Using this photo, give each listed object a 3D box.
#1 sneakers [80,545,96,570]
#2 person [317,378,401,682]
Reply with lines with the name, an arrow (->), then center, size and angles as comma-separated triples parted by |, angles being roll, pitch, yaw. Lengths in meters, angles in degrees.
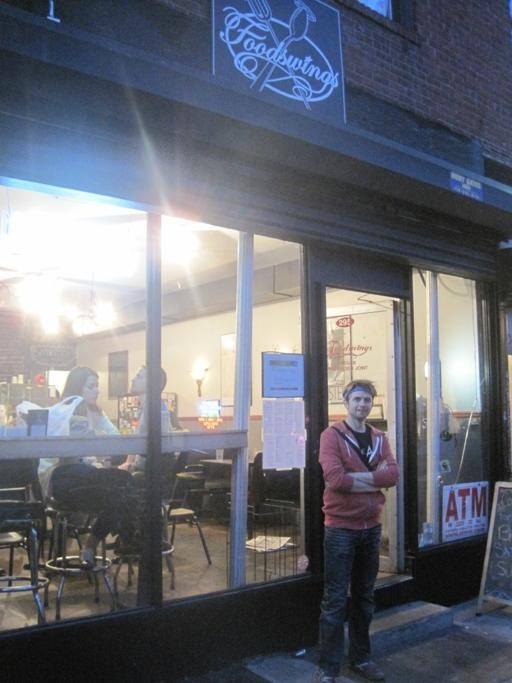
sneakers -> -0.842, 1.087, 3.186 | 0.046, 0.136, 0.062 | 2, -3, -24
person -> 0.567, 1.040, 3.485 | 0.430, 1.644, 0.498 | -1, -3, 12
